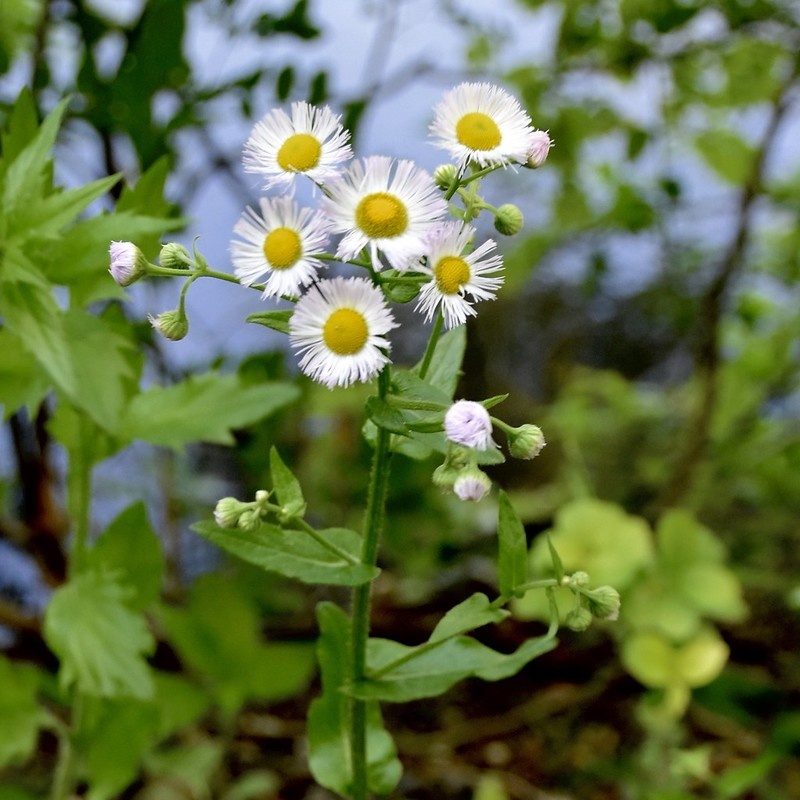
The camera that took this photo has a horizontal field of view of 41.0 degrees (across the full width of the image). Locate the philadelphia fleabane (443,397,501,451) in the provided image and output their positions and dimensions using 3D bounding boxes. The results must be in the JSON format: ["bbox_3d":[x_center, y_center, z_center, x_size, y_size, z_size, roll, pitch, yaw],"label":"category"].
[{"bbox_3d":[0.056,0.024,0.880,0.039,0.038,0.042,-5,-63,5],"label":"philadelphia fleabane"}]

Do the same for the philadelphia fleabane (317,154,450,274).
[{"bbox_3d":[-0.013,-0.152,0.865,0.100,0.073,0.077,5,-63,0],"label":"philadelphia fleabane"}]

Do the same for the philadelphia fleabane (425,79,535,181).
[{"bbox_3d":[0.070,-0.230,0.898,0.084,0.048,0.056,8,-63,-2],"label":"philadelphia fleabane"}]

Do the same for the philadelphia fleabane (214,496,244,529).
[{"bbox_3d":[-0.149,0.105,0.949,0.025,0.013,0.025,-5,-89,4],"label":"philadelphia fleabane"}]

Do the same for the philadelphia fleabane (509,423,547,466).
[{"bbox_3d":[0.110,0.036,0.927,0.035,0.018,0.031,35,-79,-7],"label":"philadelphia fleabane"}]

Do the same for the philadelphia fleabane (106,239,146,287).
[{"bbox_3d":[-0.236,-0.118,0.932,0.033,0.029,0.031,-2,-63,4],"label":"philadelphia fleabane"}]

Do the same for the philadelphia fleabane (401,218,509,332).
[{"bbox_3d":[0.039,-0.103,0.903,0.085,0.033,0.085,-39,-67,-25],"label":"philadelphia fleabane"}]

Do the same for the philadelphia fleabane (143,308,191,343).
[{"bbox_3d":[-0.209,-0.067,0.959,0.034,0.019,0.029,12,-68,18],"label":"philadelphia fleabane"}]

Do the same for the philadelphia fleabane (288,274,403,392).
[{"bbox_3d":[-0.046,-0.056,0.868,0.085,0.034,0.091,-4,-82,8],"label":"philadelphia fleabane"}]

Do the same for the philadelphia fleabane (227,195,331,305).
[{"bbox_3d":[-0.100,-0.119,0.895,0.079,0.034,0.089,-5,-89,17],"label":"philadelphia fleabane"}]

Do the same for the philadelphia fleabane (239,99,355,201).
[{"bbox_3d":[-0.084,-0.232,0.933,0.084,0.088,0.034,6,-82,9],"label":"philadelphia fleabane"}]

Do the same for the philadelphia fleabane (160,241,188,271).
[{"bbox_3d":[-0.199,-0.125,0.938,0.028,0.016,0.019,27,-112,-7],"label":"philadelphia fleabane"}]
